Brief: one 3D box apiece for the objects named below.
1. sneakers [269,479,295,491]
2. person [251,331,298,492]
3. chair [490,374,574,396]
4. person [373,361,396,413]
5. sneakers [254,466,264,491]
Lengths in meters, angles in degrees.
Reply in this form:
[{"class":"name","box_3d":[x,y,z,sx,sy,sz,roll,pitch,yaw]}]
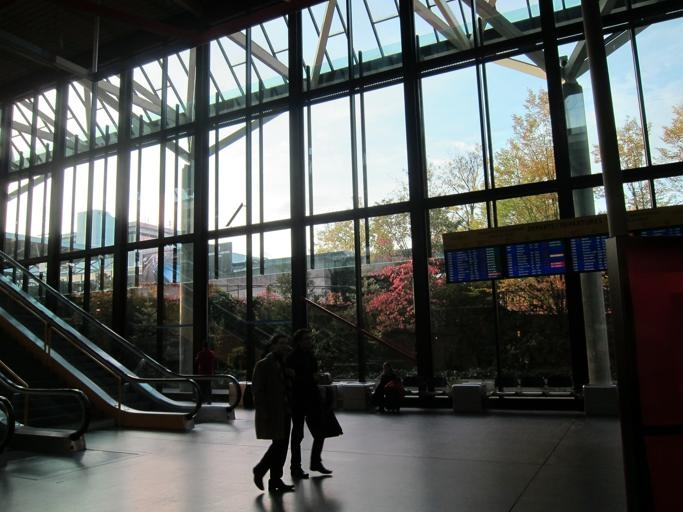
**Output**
[{"class":"sneakers","box_3d":[-0.756,2.927,7.574,0.354,0.146,0.214,-1,-3,-15]},{"class":"person","box_3d":[-0.903,2.022,7.733,0.514,1.978,0.504,-1,-3,-7]},{"class":"chair","box_3d":[4.118,2.774,12.718,1.640,0.459,0.220,-3,-3,25]},{"class":"person","box_3d":[0.946,2.937,13.258,0.346,1.079,0.648,1,-4,-39]},{"class":"sneakers","box_3d":[-1.046,2.792,7.519,0.111,0.337,0.128,-14,-11,43]}]
